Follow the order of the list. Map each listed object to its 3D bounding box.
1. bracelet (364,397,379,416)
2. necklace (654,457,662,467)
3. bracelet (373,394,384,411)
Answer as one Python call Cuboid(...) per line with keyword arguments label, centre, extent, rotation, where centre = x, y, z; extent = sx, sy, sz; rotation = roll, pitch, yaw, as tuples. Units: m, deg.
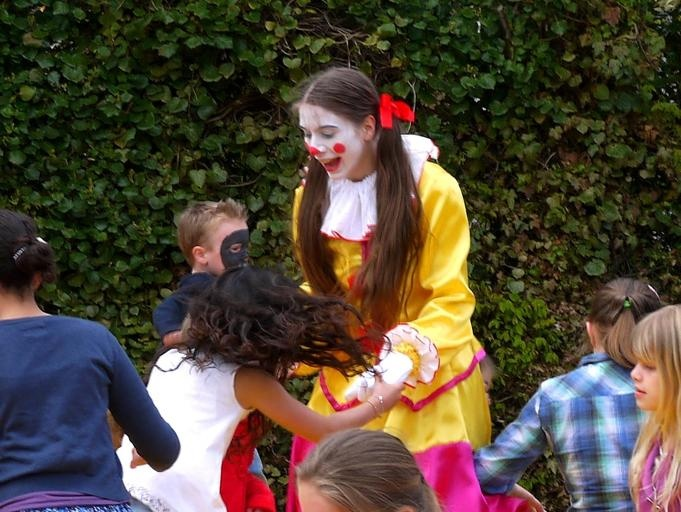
Cuboid(label="bracelet", centre=(0.109, 0.566, 2.913), extent=(0.015, 0.048, 0.052), rotation=(-15, 0, -7))
Cuboid(label="necklace", centre=(1.118, 0.729, 2.757), extent=(0.007, 0.021, 0.018), rotation=(25, -18, -38))
Cuboid(label="bracelet", centre=(0.137, 0.552, 2.921), extent=(0.047, 0.054, 0.027), rotation=(-10, -4, -17))
